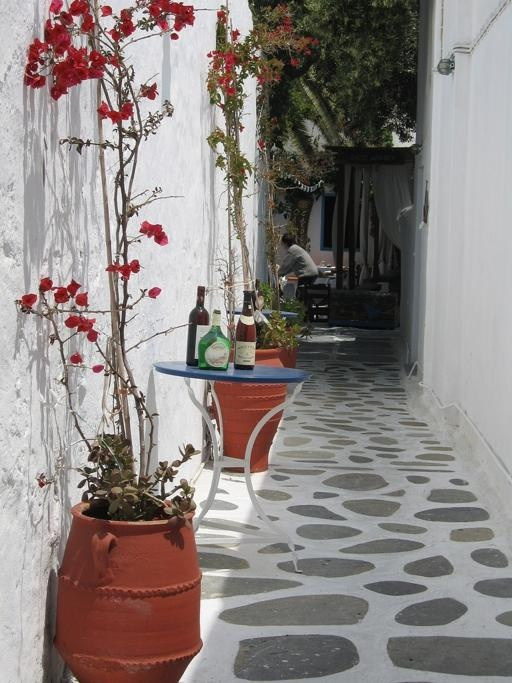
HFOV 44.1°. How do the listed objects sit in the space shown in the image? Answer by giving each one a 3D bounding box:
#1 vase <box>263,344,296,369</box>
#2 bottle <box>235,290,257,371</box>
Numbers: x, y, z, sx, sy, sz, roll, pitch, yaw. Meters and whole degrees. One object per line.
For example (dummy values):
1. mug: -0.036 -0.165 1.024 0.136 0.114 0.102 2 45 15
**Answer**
1. vase: 0.181 0.105 4.977 0.239 0.189 0.230 1 6 13
2. bottle: -0.051 -0.051 2.700 0.083 0.327 0.193 1 2 -2
